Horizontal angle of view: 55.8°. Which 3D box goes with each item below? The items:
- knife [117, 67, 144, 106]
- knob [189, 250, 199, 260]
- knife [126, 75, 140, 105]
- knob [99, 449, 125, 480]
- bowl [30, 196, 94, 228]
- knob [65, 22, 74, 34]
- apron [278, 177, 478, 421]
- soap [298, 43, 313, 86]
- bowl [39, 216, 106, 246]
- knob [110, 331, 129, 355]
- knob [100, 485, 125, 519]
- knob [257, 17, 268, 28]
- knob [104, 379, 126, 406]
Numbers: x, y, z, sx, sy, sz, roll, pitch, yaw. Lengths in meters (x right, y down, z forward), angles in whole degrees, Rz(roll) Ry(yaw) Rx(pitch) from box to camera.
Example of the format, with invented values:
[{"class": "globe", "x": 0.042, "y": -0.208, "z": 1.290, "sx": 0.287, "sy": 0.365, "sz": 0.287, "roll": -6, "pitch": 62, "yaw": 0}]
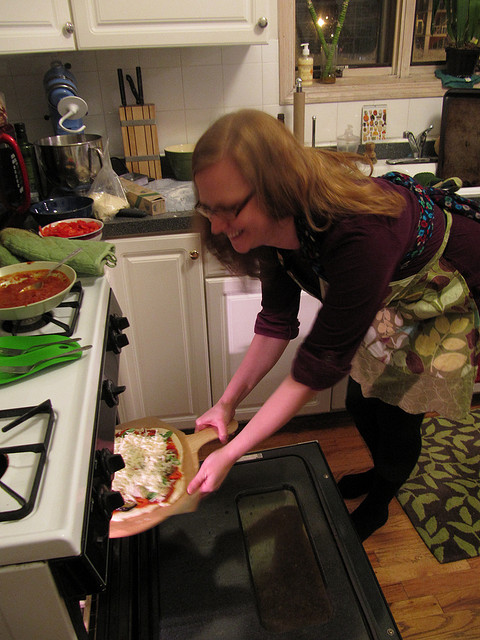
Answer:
[{"class": "knife", "x": -0.471, "y": -1.013, "z": 1.965, "sx": 0.109, "sy": 0.150, "sz": 0.175, "roll": -9, "pitch": 27, "yaw": -9}, {"class": "knob", "x": -0.174, "y": -0.238, "z": 1.670, "sx": 0.030, "sy": 0.022, "sz": 0.029, "roll": -1, "pitch": 57, "yaw": -2}, {"class": "knife", "x": -0.464, "y": -0.999, "z": 1.970, "sx": 0.041, "sy": 0.116, "sz": 0.142, "roll": -9, "pitch": 27, "yaw": -9}, {"class": "knob", "x": -0.181, "y": 0.209, "z": 0.646, "sx": 0.015, "sy": 0.039, "sz": 0.035, "roll": -2, "pitch": -10, "yaw": 7}, {"class": "bowl", "x": -0.585, "y": -0.355, "z": 1.503, "sx": 0.218, "sy": 0.076, "sz": 0.204, "roll": 3, "pitch": 24, "yaw": -1}, {"class": "knob", "x": -0.579, "y": -0.993, "z": 1.542, "sx": 0.015, "sy": 0.032, "sz": 0.032, "roll": 6, "pitch": 29, "yaw": 21}, {"class": "apron", "x": 0.448, "y": 0.023, "z": 1.146, "sx": 0.271, "sy": 0.601, "sz": 0.252, "roll": -6, "pitch": 27, "yaw": -2}, {"class": "soap", "x": 0.325, "y": -1.259, "z": 2.230, "sx": 0.103, "sy": 0.183, "sz": 0.100, "roll": -9, "pitch": 34, "yaw": -9}, {"class": "bowl", "x": -0.503, "y": -0.264, "z": 1.356, "sx": 0.150, "sy": 0.051, "sz": 0.148, "roll": 1, "pitch": 26, "yaw": -1}, {"class": "knob", "x": -0.275, "y": 0.058, "z": 1.063, "sx": 0.018, "sy": 0.052, "sz": 0.039, "roll": -18, "pitch": 52, "yaw": -4}, {"class": "knob", "x": -0.168, "y": 0.236, "z": 0.587, "sx": 0.031, "sy": 0.041, "sz": 0.014, "roll": 8, "pitch": 5, "yaw": -22}, {"class": "knob", "x": 0.084, "y": -1.088, "z": 1.657, "sx": 0.036, "sy": 0.031, "sz": 0.031, "roll": -5, "pitch": 27, "yaw": -2}, {"class": "knob", "x": -0.238, "y": 0.137, "z": 0.845, "sx": 0.018, "sy": 0.048, "sz": 0.036, "roll": -7, "pitch": 3, "yaw": 20}]
